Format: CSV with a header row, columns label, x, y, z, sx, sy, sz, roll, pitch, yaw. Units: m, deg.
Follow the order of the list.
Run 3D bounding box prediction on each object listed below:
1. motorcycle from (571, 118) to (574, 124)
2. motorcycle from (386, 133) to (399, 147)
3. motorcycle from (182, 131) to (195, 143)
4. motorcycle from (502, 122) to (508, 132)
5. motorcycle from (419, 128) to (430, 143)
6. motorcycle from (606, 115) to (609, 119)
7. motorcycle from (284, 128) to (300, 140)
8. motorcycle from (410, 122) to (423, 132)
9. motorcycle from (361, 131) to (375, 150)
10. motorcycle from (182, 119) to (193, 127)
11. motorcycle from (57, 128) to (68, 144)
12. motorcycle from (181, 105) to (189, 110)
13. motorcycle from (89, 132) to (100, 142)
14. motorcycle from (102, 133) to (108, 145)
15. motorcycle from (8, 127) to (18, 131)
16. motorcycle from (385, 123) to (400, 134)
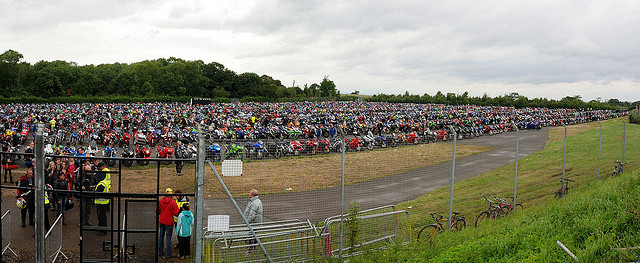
label,x,y,z,sx,sy,sz,roll,pitch,yaw
motorcycle,51.757,-2.205,97.365,0.350,1.123,1.098,-6,-1,37
motorcycle,10.608,1.358,70.522,1.561,1.906,0.727,-5,0,2
motorcycle,-18.593,0.776,66.982,1.585,1.570,1.273,-4,0,-11
motorcycle,32.991,-0.688,84.571,0.494,1.580,1.768,-6,-1,34
motorcycle,16.184,0.784,73.704,1.644,2.092,0.772,-5,0,1
motorcycle,65.840,-3.280,108.938,0.962,0.909,0.337,0,-9,-26
motorcycle,-4.312,0.346,72.517,2.186,1.707,1.333,-4,0,-4
motorcycle,16.040,-0.722,79.452,1.541,1.495,3.049,-5,-1,32
motorcycle,6.981,1.595,68.897,1.642,2.484,0.923,-5,0,2
motorcycle,-21.773,-1.437,77.734,1.406,0.522,1.320,4,13,-43
motorcycle,-37.091,0.632,67.778,1.355,1.724,1.208,-2,11,-7
motorcycle,-28.092,-4.908,99.029,1.702,0.351,1.425,-8,12,-16
motorcycle,-30.989,0.889,65.109,1.386,1.058,2.080,3,6,-30
motorcycle,-29.675,1.052,65.343,0.659,1.552,2.661,-6,1,-25
motorcycle,-43.253,-0.345,66.922,0.966,0.359,1.254,1,-3,10
motorcycle,11.892,-0.585,79.061,2.406,1.629,1.026,-4,0,-2
